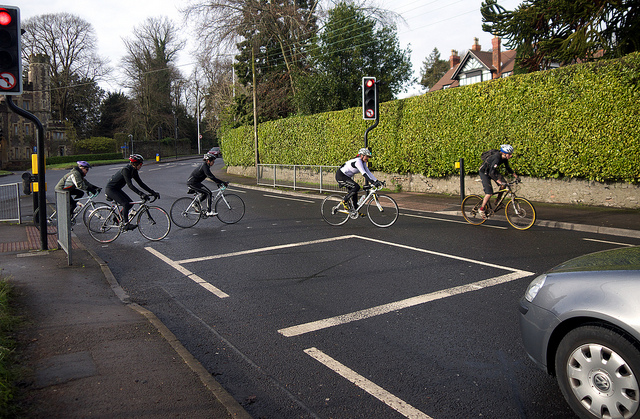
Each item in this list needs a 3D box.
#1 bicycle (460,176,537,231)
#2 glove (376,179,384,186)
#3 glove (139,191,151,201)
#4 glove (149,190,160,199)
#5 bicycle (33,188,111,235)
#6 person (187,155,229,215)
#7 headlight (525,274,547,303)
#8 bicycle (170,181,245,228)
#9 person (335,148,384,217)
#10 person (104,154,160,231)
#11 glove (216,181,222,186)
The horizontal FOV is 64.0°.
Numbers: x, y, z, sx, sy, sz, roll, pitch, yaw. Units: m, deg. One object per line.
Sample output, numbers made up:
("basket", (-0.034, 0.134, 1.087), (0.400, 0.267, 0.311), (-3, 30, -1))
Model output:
("bicycle", (5.120, -0.212, 14.468), (2.153, 1.497, 1.103), (2, 6, 39))
("glove", (1.651, -0.735, 14.127), (0.350, 0.108, 0.378), (6, 3, 4))
("glove", (-4.464, -0.328, 13.091), (0.204, 0.276, 0.552), (-3, 10, -4))
("glove", (-5.131, -0.452, 15.842), (0.411, 0.184, 0.320), (18, 9, 10))
("bicycle", (-6.868, 0.048, 14.377), (2.095, 1.396, 1.001), (-1, 13, -32))
("person", (-3.255, -0.716, 14.847), (1.015, 1.751, 0.875), (2, 10, 28))
("headlight", (2.779, 1.009, 6.613), (0.076, 0.319, 0.283), (28, -10, 2))
("bicycle", (-3.265, -0.187, 15.448), (2.278, 1.603, 0.992), (-7, 13, -14))
("person", (0.948, -0.831, 14.402), (1.058, 1.676, 0.636), (0, 9, 16))
("person", (-4.919, -0.388, 13.157), (1.073, 1.968, 0.678), (2, 10, 28))
("glove", (-2.907, -0.754, 14.822), (0.134, 0.180, 0.572), (-4, 11, -10))
